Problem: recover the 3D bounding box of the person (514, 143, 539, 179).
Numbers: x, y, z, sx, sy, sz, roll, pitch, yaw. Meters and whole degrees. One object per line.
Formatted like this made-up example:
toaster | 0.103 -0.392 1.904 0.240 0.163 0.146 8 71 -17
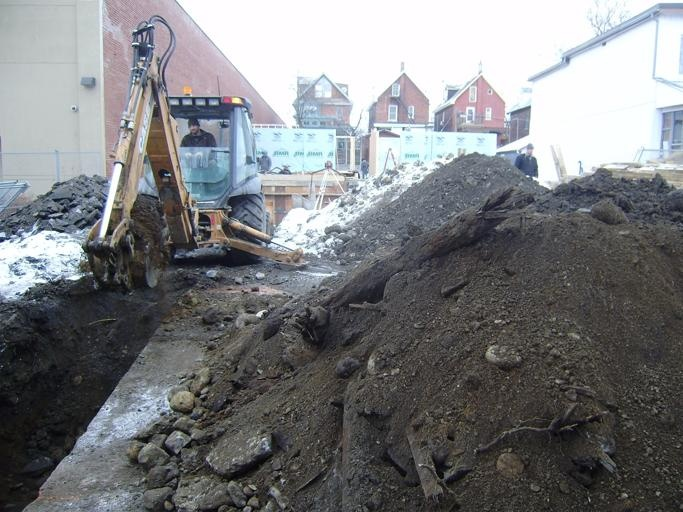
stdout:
person | 4.787 -2.416 11.589 0.537 0.852 0.773 0 10 2
